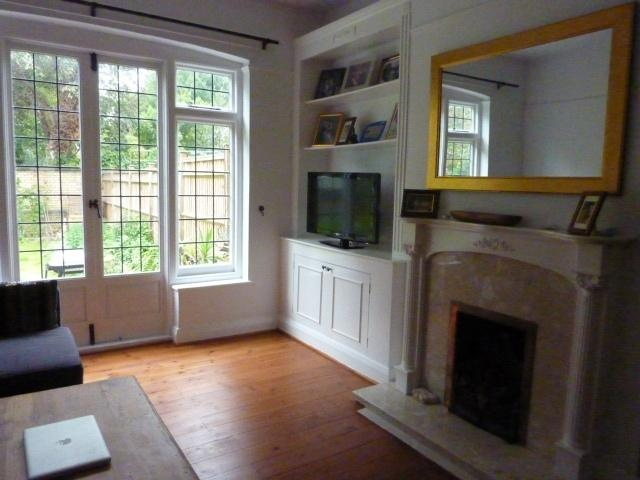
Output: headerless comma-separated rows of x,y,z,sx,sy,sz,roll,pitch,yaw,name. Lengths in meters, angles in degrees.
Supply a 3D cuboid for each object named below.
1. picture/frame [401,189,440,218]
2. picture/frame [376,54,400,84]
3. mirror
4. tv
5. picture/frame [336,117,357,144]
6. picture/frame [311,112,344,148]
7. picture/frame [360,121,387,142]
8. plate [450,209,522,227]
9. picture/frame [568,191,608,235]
0.772,-0.272,3.648,0.029,0.186,0.216,10,-4,-44,picture/frame
0.627,-1.531,4.311,0.132,0.238,0.445,-4,15,-21,picture/frame
1.362,-0.899,3.028,0.048,1.044,1.384,-3,6,-40,mirror
0.247,-0.282,4.544,0.205,0.527,0.749,-1,6,-34,tv
0.272,-1.085,4.827,0.028,0.385,0.292,6,6,-34,picture/frame
0.090,-1.149,5.036,0.053,0.390,0.402,19,2,-33,picture/frame
0.510,-1.016,4.526,0.042,0.292,0.302,18,-8,-36,picture/frame
1.123,-0.149,3.276,0.171,0.099,0.474,-9,18,-37,plate
1.525,-0.157,2.745,0.148,0.242,0.203,14,19,41,picture/frame
